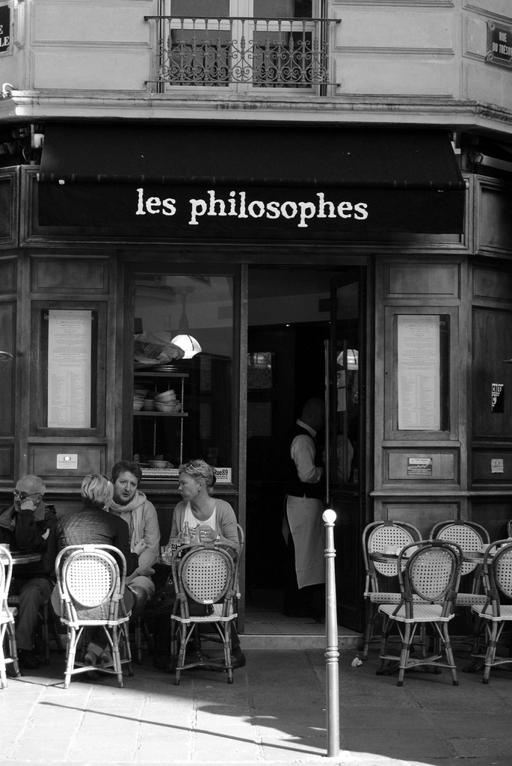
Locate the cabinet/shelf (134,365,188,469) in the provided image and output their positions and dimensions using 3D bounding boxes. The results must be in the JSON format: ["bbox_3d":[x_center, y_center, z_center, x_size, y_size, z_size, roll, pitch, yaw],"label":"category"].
[{"bbox_3d":[-0.709,0.331,11.026,0.250,0.939,0.444,0,3,-7],"label":"cabinet/shelf"}]

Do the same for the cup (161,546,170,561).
[{"bbox_3d":[-0.625,1.187,9.604,0.065,0.162,0.098,-2,-4,0],"label":"cup"}]

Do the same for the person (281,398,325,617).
[{"bbox_3d":[0.412,1.041,11.597,0.350,1.760,0.841,2,3,1],"label":"person"}]

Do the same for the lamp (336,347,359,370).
[{"bbox_3d":[0.748,-0.201,11.151,0.110,0.126,0.221,1,9,-1],"label":"lamp"}]

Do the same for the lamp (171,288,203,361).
[{"bbox_3d":[-0.567,-0.456,10.982,0.218,0.603,0.251,-4,-12,10],"label":"lamp"}]

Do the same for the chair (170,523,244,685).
[{"bbox_3d":[-0.346,1.515,9.342,0.453,0.967,0.782,2,3,-2],"label":"chair"}]

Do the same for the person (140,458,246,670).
[{"bbox_3d":[-0.367,1.289,9.784,0.483,1.432,0.526,-5,-3,17],"label":"person"}]

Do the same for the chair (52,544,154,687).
[{"bbox_3d":[-1.053,1.487,8.989,0.498,0.953,0.626,1,3,-6],"label":"chair"}]
